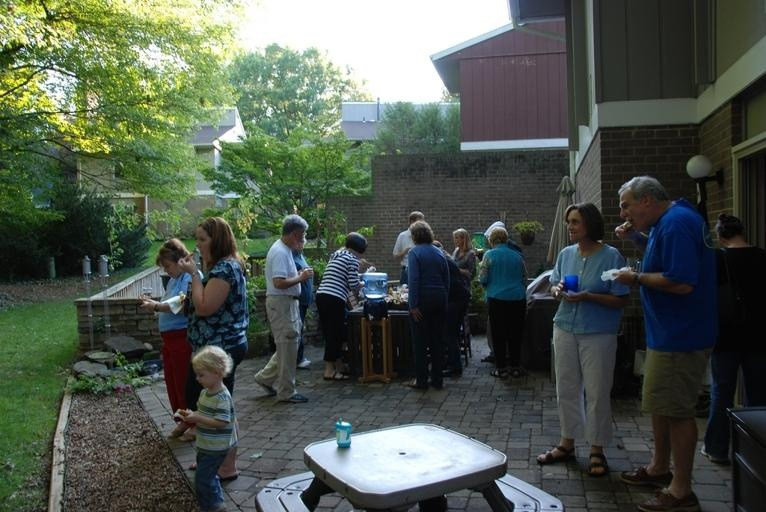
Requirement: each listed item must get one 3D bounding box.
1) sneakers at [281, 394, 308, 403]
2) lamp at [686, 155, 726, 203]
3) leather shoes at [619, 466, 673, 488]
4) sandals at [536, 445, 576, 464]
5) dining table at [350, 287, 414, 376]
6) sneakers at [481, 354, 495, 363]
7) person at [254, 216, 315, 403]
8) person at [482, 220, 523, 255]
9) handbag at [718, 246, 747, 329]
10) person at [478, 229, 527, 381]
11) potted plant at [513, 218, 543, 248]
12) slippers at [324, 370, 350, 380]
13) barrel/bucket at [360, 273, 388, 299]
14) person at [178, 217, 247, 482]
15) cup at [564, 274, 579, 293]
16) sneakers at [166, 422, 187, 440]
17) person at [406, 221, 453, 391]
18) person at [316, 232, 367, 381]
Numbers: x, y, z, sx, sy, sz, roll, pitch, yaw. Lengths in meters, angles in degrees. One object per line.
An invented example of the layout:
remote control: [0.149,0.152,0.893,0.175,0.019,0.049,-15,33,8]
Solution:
sneakers: [-1.224,1.977,8.205,0.387,0.177,0.143,-1,-4,-2]
lamp: [4.139,-0.920,7.528,0.385,0.749,0.313,-5,0,10]
leather shoes: [2.590,2.202,5.784,0.457,0.179,0.176,2,-9,13]
sandals: [1.861,2.137,6.326,0.424,0.177,0.177,1,-5,-1]
dining table: [-0.099,1.467,9.217,0.649,0.881,0.740,2,2,32]
sneakers: [1.802,1.772,10.059,0.090,0.125,0.269,6,-5,-22]
person: [-1.386,0.737,8.246,0.770,2.606,1.169,-3,2,-13]
person: [2.552,-0.393,12.359,1.040,0.418,1.164,18,-1,-2]
handbag: [3.589,0.339,6.174,0.327,0.836,0.204,11,-11,-39]
person: [1.850,0.853,8.942,0.663,1.994,0.335,-2,2,13]
potted plant: [4.168,-0.665,16.956,0.788,0.820,0.693,0,-2,-1]
slippers: [-0.731,1.866,9.200,0.361,0.139,0.147,-2,-1,1]
barrel/bucket: [-0.134,0.471,9.305,0.367,0.386,0.381,-1,-1,0]
person: [-1.838,0.988,6.333,0.831,2.732,0.839,0,0,-17]
cup: [1.943,0.293,6.116,0.151,0.178,0.156,1,-7,0]
sneakers: [-2.503,2.099,7.018,0.325,0.136,0.118,1,-2,-31]
person: [0.683,0.724,8.584,0.606,2.450,0.449,-2,2,-2]
person: [-0.654,0.796,9.184,0.752,2.276,0.363,-3,2,-9]
